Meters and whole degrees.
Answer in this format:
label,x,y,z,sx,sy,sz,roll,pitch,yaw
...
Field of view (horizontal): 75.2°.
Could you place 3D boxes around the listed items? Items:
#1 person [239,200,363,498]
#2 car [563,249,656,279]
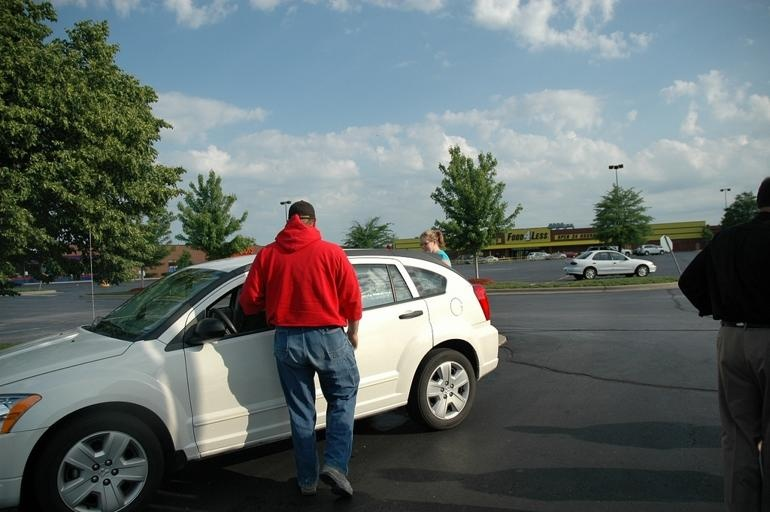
label,x,y,z,sx,sy,sz,roll,pitch,yaw
person,-0.742,0.879,4.836,0.948,2.776,0.521,0,6,25
car,12.806,0.503,28.673,5.079,1.669,1.993,-4,3,-4
